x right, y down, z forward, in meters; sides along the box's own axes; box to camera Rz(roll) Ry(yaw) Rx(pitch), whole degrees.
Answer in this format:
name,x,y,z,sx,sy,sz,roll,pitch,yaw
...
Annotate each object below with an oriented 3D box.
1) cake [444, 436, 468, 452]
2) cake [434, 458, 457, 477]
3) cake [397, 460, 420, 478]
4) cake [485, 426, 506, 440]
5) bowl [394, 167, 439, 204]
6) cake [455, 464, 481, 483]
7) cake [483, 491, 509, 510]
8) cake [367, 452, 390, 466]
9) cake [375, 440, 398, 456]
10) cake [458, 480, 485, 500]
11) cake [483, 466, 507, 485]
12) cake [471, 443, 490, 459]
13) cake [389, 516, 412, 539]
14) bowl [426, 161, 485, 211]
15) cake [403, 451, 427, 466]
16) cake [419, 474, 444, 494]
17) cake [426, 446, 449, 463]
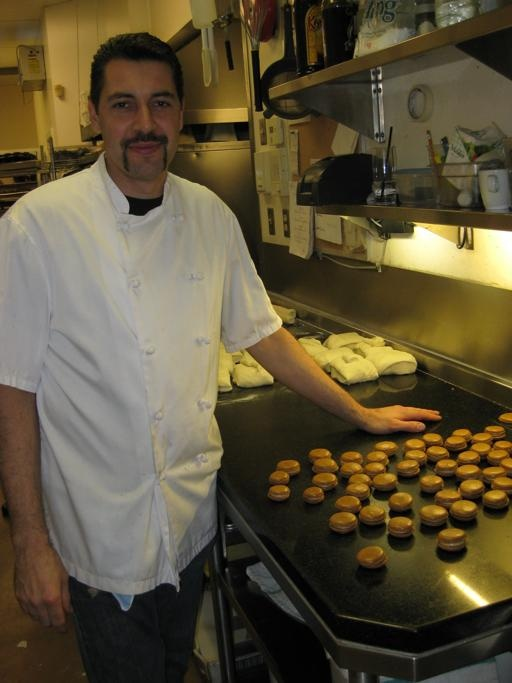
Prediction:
name,x,y,z,sx,sy,sz,roll,pitch,yaw
cake,0.377,0.193,1.010,0.032,0.015,0.030,-5,13,8
cake,0.331,0.215,0.921,0.027,0.014,0.030,-2,5,1
cake,0.266,0.224,0.944,0.032,0.020,0.031,-14,16,-27
cake,0.462,0.173,1.034,0.029,0.013,0.029,-11,12,-43
bowl,0.339,-0.324,1.152,0.097,0.054,0.093,0,13,0
cake,0.351,0.217,0.892,0.027,0.016,0.031,-1,-11,3
cake,0.362,0.241,0.814,0.031,0.014,0.029,-10,9,-13
cake,0.223,0.213,0.983,0.030,0.013,0.029,-2,9,-2
cake,0.252,0.202,1.039,0.031,0.013,0.031,5,18,29
cake,0.340,0.232,0.845,0.031,0.014,0.029,-15,28,0
cake,0.393,0.220,0.881,0.028,0.017,0.027,-8,1,13
cake,0.407,0.196,0.962,0.027,0.013,0.027,-3,14,2
cake,0.210,0.262,0.766,0.029,0.017,0.027,0,5,8
bowl,0.393,-0.304,1.031,0.094,0.063,0.079,-8,17,-11
cake,0.293,0.209,0.982,0.029,0.014,0.028,1,7,7
cake,0.284,0.232,0.872,0.033,0.014,0.029,-17,24,-21
cake,0.332,0.206,0.986,0.031,0.015,0.030,-2,9,3
